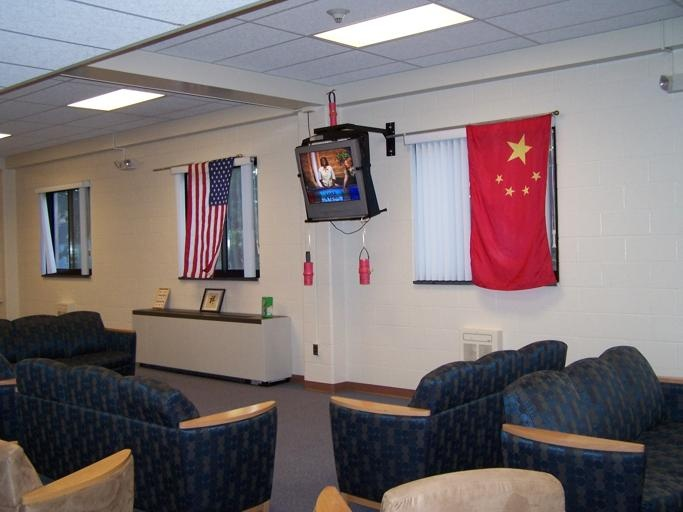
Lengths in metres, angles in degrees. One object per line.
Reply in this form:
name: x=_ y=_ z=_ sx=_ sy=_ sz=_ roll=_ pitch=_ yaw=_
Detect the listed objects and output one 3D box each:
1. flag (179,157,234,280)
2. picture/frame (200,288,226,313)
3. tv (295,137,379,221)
flag: x=-2.082 y=-0.558 z=8.325 sx=1.149 sy=1.812 sz=0.288 roll=1 pitch=6 yaw=42
picture/frame: x=-1.956 y=0.683 z=8.277 sx=0.333 sy=0.347 sz=0.024 roll=8 pitch=-12 yaw=33
tv: x=-0.031 y=-0.923 z=6.359 sx=0.939 sy=1.024 sz=0.541 roll=-6 pitch=0 yaw=31
